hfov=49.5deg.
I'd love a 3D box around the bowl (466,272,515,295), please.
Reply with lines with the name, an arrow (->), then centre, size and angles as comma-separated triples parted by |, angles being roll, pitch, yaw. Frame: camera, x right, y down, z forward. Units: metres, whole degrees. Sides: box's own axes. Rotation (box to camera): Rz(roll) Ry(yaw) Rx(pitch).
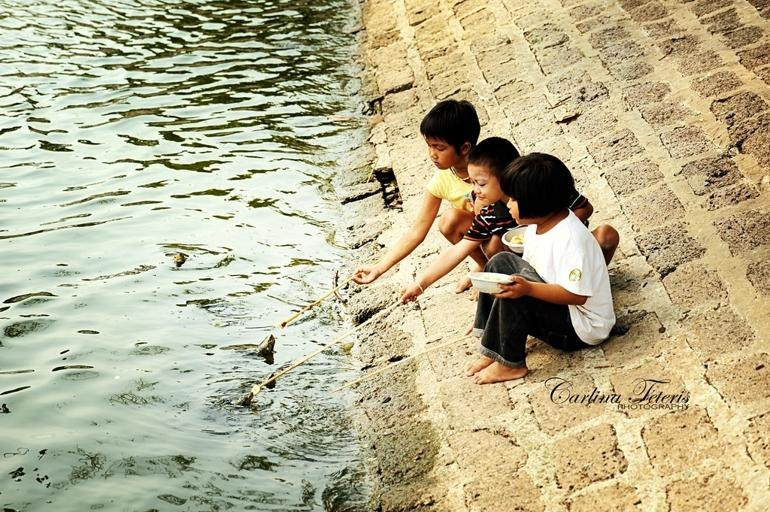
bowl -> 0.676, 0.158, 5.186 | 0.287, 0.129, 0.184 | 0, 8, 13

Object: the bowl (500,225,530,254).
bowl -> 0.874, -0.121, 5.542 | 0.243, 0.067, 0.184 | -7, 33, -10

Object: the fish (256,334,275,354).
fish -> -0.856, 0.627, 6.056 | 0.152, 0.123, 0.085 | -6, 10, -26

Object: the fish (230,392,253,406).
fish -> -0.955, 0.950, 5.627 | 0.103, 0.084, 0.127 | 3, 9, 28
